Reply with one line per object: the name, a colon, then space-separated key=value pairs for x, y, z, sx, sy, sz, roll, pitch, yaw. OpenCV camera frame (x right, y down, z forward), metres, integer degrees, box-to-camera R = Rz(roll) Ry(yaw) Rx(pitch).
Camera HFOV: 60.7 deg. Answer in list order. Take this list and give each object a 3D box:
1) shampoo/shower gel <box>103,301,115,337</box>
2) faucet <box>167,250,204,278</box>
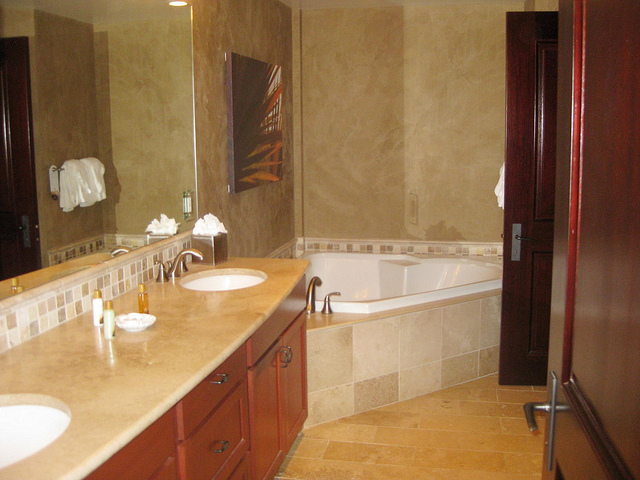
shampoo/shower gel: x=-0.721 y=0.259 z=1.862 sx=0.037 sy=0.131 sz=0.097 roll=-5 pitch=14 yaw=-20
faucet: x=-0.644 y=0.109 z=2.605 sx=0.228 sy=0.156 sz=0.089 roll=1 pitch=8 yaw=32
